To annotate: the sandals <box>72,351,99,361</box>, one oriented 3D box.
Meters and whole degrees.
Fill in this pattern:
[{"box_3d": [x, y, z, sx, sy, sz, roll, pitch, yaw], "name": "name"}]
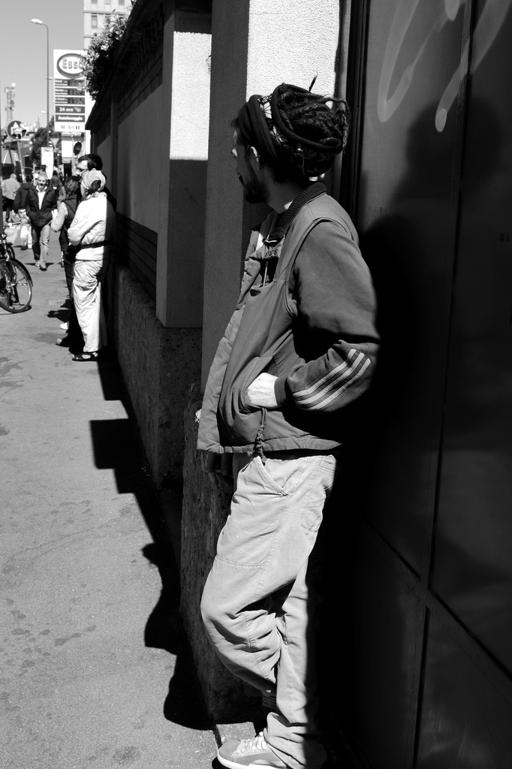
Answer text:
[{"box_3d": [-2.081, -0.296, 8.757, 0.259, 0.142, 0.136, 5, -2, -15], "name": "sandals"}]
